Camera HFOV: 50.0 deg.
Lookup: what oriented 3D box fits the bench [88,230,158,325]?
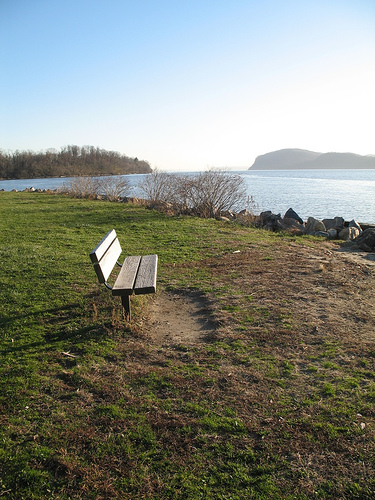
[{"bbox_3d":[-0.941,0.415,5.796,0.480,0.617,1.273,-2,17,-3],"label":"bench"}]
